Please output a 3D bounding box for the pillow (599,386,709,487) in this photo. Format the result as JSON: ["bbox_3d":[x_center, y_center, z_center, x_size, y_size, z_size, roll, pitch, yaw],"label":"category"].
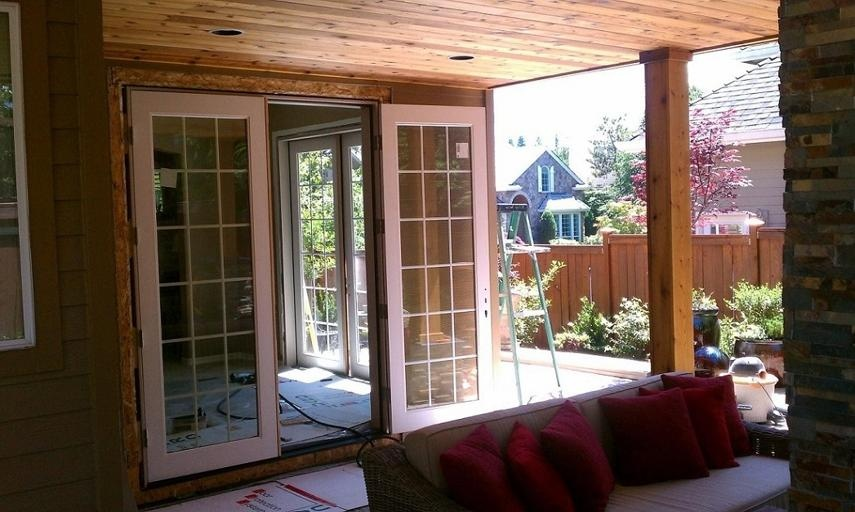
[{"bbox_3d":[1.424,1.128,3.949,0.575,0.517,0.248,-2,-17,-6],"label":"pillow"}]

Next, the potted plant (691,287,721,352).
[{"bbox_3d":[3.217,0.665,7.379,0.254,0.411,2.020,-4,7,23],"label":"potted plant"}]

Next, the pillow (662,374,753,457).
[{"bbox_3d":[1.906,1.120,4.515,0.562,0.510,0.217,-1,-13,-33],"label":"pillow"}]

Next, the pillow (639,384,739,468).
[{"bbox_3d":[1.780,1.180,4.426,0.578,0.524,0.230,3,-23,-18],"label":"pillow"}]
